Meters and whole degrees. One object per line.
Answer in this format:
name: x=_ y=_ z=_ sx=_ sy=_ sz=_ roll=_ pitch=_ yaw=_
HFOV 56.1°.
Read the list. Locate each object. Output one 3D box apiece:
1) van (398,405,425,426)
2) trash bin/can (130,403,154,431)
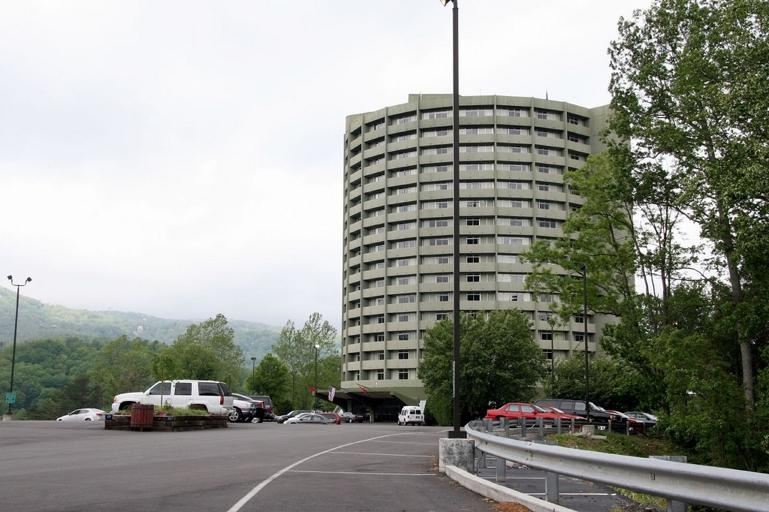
van: x=2.680 y=16.606 z=75.260 sx=1.532 sy=1.299 sz=2.592 roll=3 pitch=-6 yaw=-12
trash bin/can: x=-12.362 y=8.170 z=36.441 sx=1.141 sy=1.566 sz=1.192 roll=-3 pitch=-12 yaw=10
